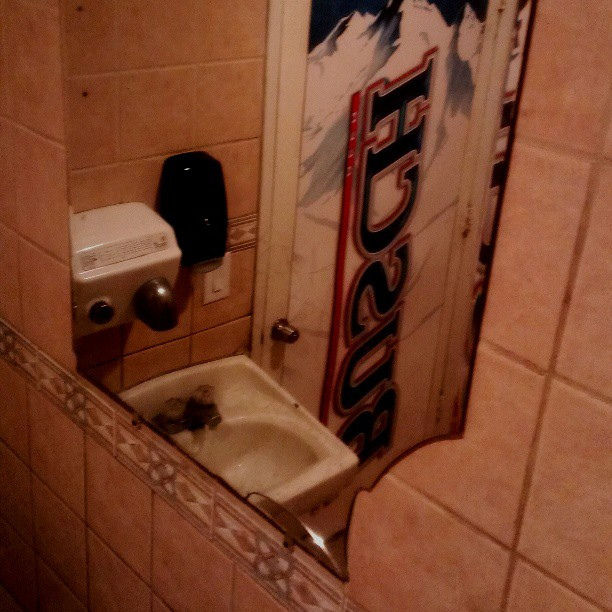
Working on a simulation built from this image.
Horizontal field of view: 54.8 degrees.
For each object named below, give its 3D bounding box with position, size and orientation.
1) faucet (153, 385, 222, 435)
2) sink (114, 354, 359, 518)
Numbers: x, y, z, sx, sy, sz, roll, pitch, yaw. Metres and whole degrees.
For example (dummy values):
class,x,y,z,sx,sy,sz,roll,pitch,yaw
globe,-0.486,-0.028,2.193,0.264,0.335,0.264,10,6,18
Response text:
class,x,y,z,sx,sy,sz,roll,pitch,yaw
faucet,-0.148,0.133,0.752,0.077,0.065,0.028,-28,-12,33
sink,-0.074,0.097,0.688,0.151,0.092,0.205,-21,36,-36
